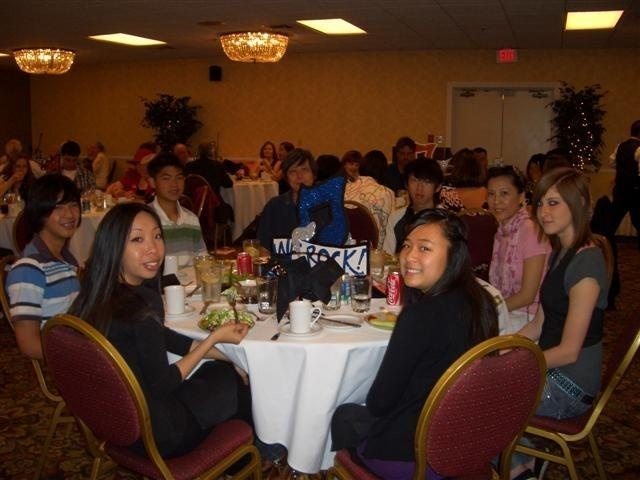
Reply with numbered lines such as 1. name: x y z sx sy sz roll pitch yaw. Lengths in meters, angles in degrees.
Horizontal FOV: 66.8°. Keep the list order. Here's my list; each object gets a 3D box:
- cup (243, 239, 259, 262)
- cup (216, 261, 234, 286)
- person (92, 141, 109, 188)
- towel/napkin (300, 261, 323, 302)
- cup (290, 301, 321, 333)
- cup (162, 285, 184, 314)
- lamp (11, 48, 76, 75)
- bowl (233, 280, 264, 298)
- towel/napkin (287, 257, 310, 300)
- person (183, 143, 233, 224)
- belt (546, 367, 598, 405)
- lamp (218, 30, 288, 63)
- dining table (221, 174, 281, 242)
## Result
1. cup: -0.401 0.064 2.868 0.108 0.137 0.114 0 4 0
2. cup: -0.485 0.176 2.563 0.104 0.132 0.110 2 3 0
3. person: -4.668 -1.605 10.329 0.349 0.909 1.039 -2 11 -25
4. towel/napkin: -0.034 0.184 2.141 0.100 0.157 0.045 5 5 21
5. cup: -0.076 0.316 1.981 0.136 0.115 0.091 1 3 -16
6. cup: -0.647 0.272 2.207 0.102 0.131 0.110 0 0 0
7. lamp: -5.378 -3.531 9.547 0.720 0.287 0.723 -11 17 -38
8. bowl: -0.344 0.225 2.289 0.103 0.060 0.109 1 11 0
9. towel/napkin: -0.092 0.162 2.103 0.057 0.161 0.112 -4 15 39
10. person: -1.672 -0.710 7.295 0.599 1.510 0.502 -2 27 -9
11. belt: 1.064 0.633 2.073 0.158 0.044 0.161 39 2 39
12. lamp: -1.114 -3.297 8.266 1.114 0.444 0.347 1 10 -8
13. dining table: -1.103 -0.549 7.879 0.940 1.038 0.993 -1 12 -4
